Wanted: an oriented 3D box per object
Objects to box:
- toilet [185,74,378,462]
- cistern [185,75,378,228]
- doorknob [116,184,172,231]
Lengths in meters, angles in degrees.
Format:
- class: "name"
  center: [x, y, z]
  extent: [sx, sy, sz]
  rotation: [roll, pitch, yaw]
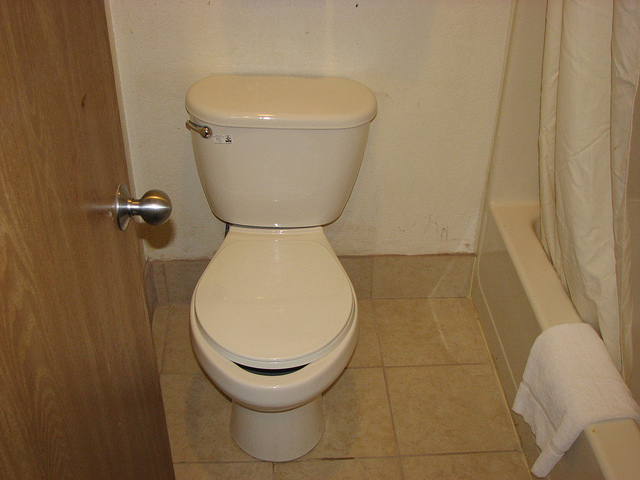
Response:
- class: "toilet"
  center: [-0.128, 0.117, 1.670]
  extent: [0.531, 0.897, 0.814]
  rotation: [1, 38, -3]
- class: "cistern"
  center: [-0.118, -0.270, 1.758]
  extent: [0.522, 0.402, 0.332]
  rotation: [0, 38, -8]
- class: "doorknob"
  center: [-0.296, -0.056, 0.999]
  extent: [0.082, 0.082, 0.073]
  rotation: [0, 4, 6]
